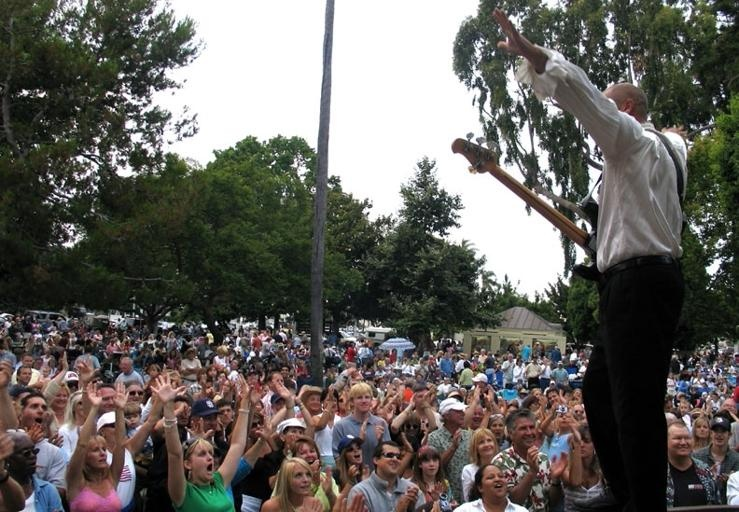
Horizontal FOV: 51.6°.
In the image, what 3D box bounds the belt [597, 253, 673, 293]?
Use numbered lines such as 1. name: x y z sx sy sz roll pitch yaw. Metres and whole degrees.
1. belt: 2.307 0.103 6.715 0.365 0.102 0.380 -16 -13 31
